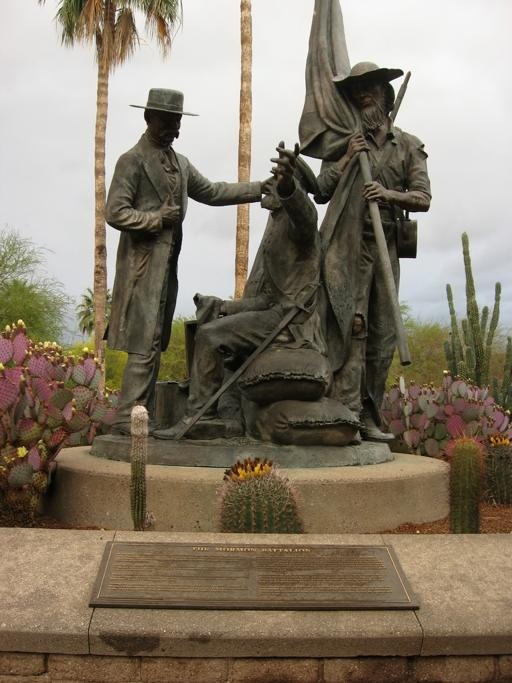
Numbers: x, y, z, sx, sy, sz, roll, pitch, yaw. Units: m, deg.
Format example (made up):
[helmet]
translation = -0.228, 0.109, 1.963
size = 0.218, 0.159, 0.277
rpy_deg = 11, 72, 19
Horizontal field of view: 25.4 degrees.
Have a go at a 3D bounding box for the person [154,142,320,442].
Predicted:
[person]
translation = 0.020, -0.355, 7.323
size = 0.916, 1.840, 1.227
rpy_deg = 7, 14, 30
